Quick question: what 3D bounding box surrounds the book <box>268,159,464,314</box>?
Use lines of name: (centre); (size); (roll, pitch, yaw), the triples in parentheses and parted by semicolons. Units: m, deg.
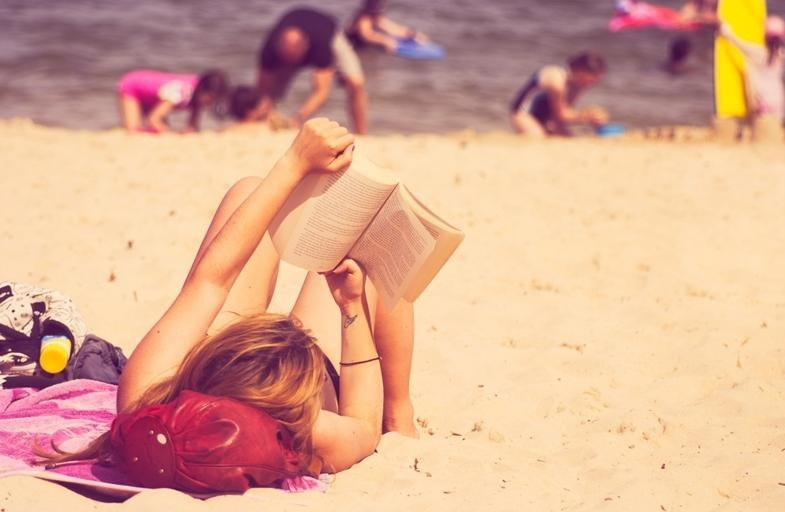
book: (-0.140, -0.137, 6.009); (1.072, 0.762, 0.284); (6, 25, 3)

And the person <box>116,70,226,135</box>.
person: (-2.020, -1.405, 9.649); (0.970, 0.614, 0.585); (11, 23, 8)
